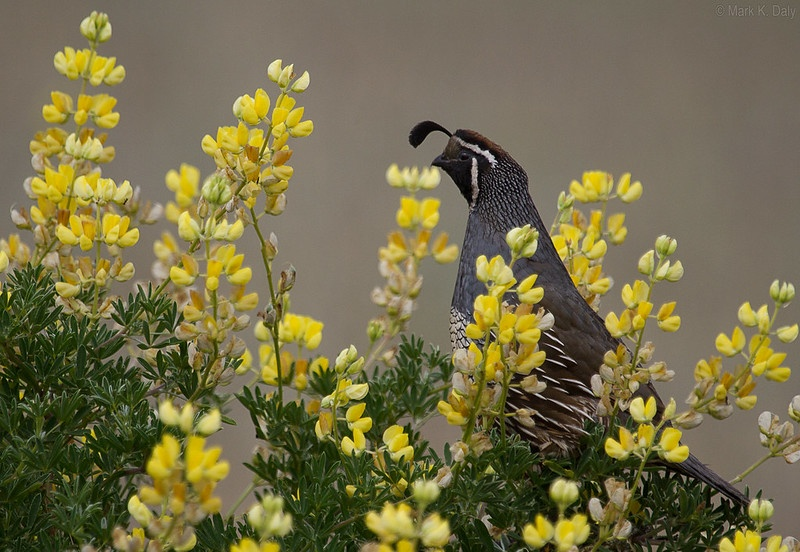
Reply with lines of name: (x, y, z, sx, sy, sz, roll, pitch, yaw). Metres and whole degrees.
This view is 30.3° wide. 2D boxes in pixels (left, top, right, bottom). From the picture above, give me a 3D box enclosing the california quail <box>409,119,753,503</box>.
california quail: (0.249, 0.068, 2.125, 0.663, 0.500, 0.229, 15, 11, 43)
